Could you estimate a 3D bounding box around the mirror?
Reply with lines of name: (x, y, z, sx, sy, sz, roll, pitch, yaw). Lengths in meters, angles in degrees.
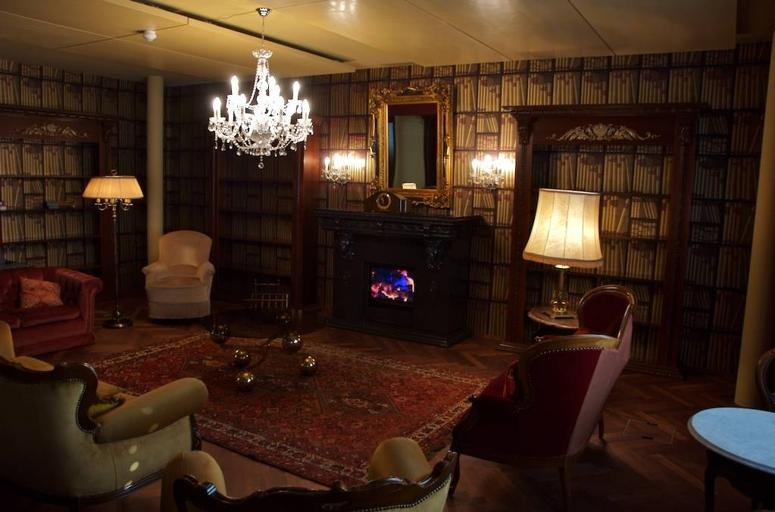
mirror: (0.366, -1.646, 7.910, 1.829, 2.329, 0.315, 4, 7, 30)

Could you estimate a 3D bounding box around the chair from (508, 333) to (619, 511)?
chair: (1.333, 1.240, 4.084, 0.808, 1.385, 0.379, -4, 15, -18)

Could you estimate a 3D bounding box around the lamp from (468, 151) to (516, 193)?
lamp: (1.478, -1.198, 7.495, 0.510, 0.432, 0.535, 5, 18, 13)

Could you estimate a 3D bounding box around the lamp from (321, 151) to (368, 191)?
lamp: (-0.667, -1.371, 8.534, 0.660, 0.602, 0.257, 3, 0, 18)
